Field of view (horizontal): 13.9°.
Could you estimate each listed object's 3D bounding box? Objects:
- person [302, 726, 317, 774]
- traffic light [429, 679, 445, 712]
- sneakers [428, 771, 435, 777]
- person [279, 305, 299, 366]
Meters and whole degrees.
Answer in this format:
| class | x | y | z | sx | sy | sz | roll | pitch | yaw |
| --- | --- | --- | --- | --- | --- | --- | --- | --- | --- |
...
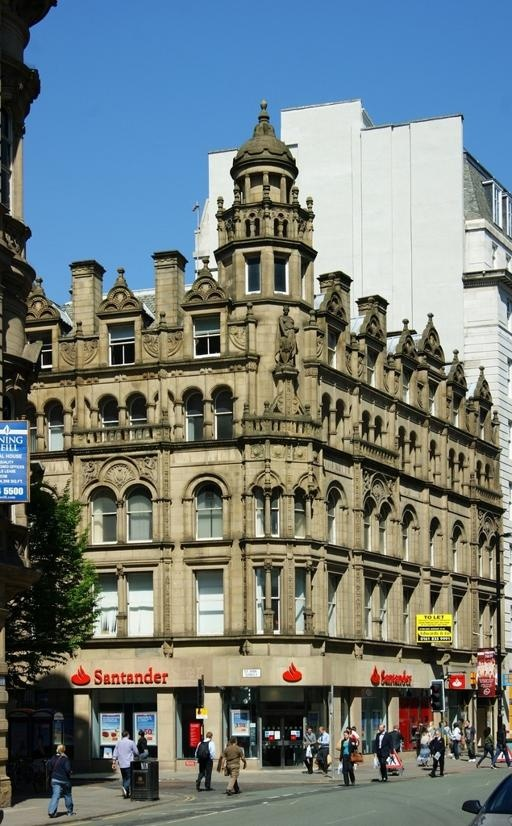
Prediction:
| class | x | y | z | sx | sy | sz | roll | pitch | yaw |
| --- | --- | --- | --- | --- | --- | --- | --- | --- | --- |
| person | 1.911 | 12.331 | 75.231 | 0.463 | 1.600 | 2.090 | 3 | 4 | 2 |
| traffic light | 6.896 | 11.096 | 80.272 | 0.440 | 0.960 | 1.999 | 4 | 5 | 2 |
| sneakers | 6.033 | 12.581 | 72.137 | 0.108 | 0.328 | 0.264 | 6 | -13 | -24 |
| person | 1.208 | -2.848 | 80.150 | 0.648 | 2.530 | 0.448 | 7 | -24 | -15 |
